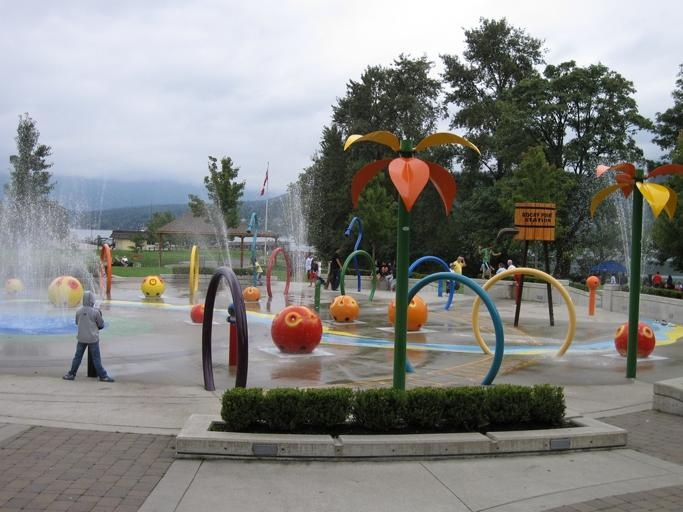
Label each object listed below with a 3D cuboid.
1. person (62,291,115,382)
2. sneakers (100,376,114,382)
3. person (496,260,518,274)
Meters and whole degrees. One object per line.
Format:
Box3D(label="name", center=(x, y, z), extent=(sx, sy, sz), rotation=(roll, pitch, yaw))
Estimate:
Box3D(label="person", center=(-5.122, 1.591, 13.238), extent=(0.889, 1.746, 1.171), rotation=(-1, 2, -25))
Box3D(label="sneakers", center=(-4.691, 2.432, 13.029), extent=(0.315, 0.144, 0.115), rotation=(3, -1, -2))
Box3D(label="person", center=(7.849, 0.468, 31.258), extent=(0.570, 0.636, 1.127), rotation=(-1, 8, -2))
